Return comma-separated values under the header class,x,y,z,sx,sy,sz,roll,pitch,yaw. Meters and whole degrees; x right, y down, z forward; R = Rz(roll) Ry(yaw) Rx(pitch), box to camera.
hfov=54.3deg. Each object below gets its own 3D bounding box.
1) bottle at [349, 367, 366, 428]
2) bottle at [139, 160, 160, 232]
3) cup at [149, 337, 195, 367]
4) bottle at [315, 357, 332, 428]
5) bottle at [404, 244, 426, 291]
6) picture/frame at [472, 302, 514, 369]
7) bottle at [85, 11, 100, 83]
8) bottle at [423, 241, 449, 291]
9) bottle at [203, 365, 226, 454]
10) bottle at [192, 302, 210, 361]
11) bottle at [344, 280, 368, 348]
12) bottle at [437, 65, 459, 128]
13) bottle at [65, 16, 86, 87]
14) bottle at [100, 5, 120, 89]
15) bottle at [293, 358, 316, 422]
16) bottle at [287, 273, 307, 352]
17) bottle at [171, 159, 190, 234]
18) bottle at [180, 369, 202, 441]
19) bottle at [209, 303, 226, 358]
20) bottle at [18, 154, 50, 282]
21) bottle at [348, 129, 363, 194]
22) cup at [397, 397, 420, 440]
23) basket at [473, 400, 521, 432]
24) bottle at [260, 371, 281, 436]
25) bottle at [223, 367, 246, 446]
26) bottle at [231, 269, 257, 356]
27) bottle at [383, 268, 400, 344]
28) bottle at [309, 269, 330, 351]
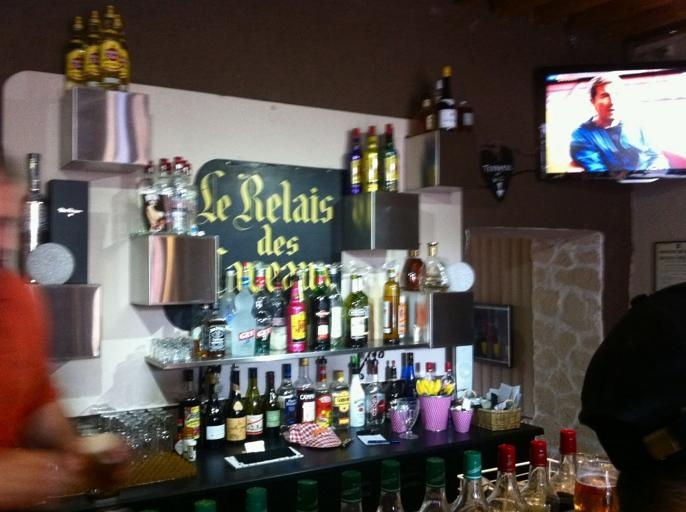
class,x,y,z,sx,sy,sz,roll,pitch,yaw
bottle,0.065,0.665,3.062,0.071,0.242,0.076,0,0,0
bottle,-0.792,-0.241,2.756,0.094,0.291,0.185,0,0,-17
cup,-0.704,0.390,2.758,0.171,0.085,0.274,0,0,-17
bottle,-0.086,0.617,3.034,0.073,0.299,0.171,0,0,-1
bottle,0.369,0.076,3.403,0.105,0.202,0.156,0,0,-6
picture/frame,0.926,0.511,4.313,0.429,0.398,0.041,14,-18,-43
bottle,-1.002,-0.848,2.686,0.060,0.335,0.150,0,0,-20
bottle,0.477,0.057,3.411,0.126,0.236,0.322,0,0,9
bottle,-0.536,0.636,2.818,0.089,0.309,0.179,0,0,-8
bottle,-0.593,0.315,2.812,0.078,0.206,0.214,0,0,-13
bottle,0.061,0.253,3.097,0.104,0.326,0.194,0,0,-2
bottle,0.540,-0.812,3.417,0.106,0.394,0.356,0,0,9
bottle,-1.067,-0.834,2.679,0.075,0.296,0.106,0,0,-22
bottle,-0.933,-0.851,2.685,0.080,0.372,0.203,0,0,-20
bottle,-0.167,0.622,3.018,0.090,0.231,0.219,0,0,-4
bottle,-0.206,0.261,2.980,0.080,0.319,0.191,0,0,-6
bottle,-0.672,-0.247,2.772,0.073,0.318,0.132,0,0,-11
bottle,-0.617,0.622,2.740,0.075,0.295,0.256,0,0,-12
bottle,-0.525,0.316,2.798,0.079,0.207,0.183,0,0,-10
bottle,-1.174,-0.164,2.613,0.102,0.468,0.094,1,13,0
bottle,0.063,-0.465,3.277,0.069,0.330,0.103,0,0,1
cup,0.305,0.723,3.015,0.091,0.162,0.211,0,0,24
basket,0.723,0.739,3.118,0.121,0.068,0.165,2,-5,-13
bottle,-0.311,0.646,2.926,0.071,0.276,0.103,0,0,-8
bottle,-0.458,0.626,2.866,0.087,0.316,0.174,0,0,-10
bottle,-0.423,0.277,2.863,0.105,0.287,0.109,0,0,0
bottle,0.233,0.242,3.183,0.077,0.345,0.105,0,0,7
bottle,-0.101,0.241,3.041,0.098,0.351,0.246,0,0,-2
